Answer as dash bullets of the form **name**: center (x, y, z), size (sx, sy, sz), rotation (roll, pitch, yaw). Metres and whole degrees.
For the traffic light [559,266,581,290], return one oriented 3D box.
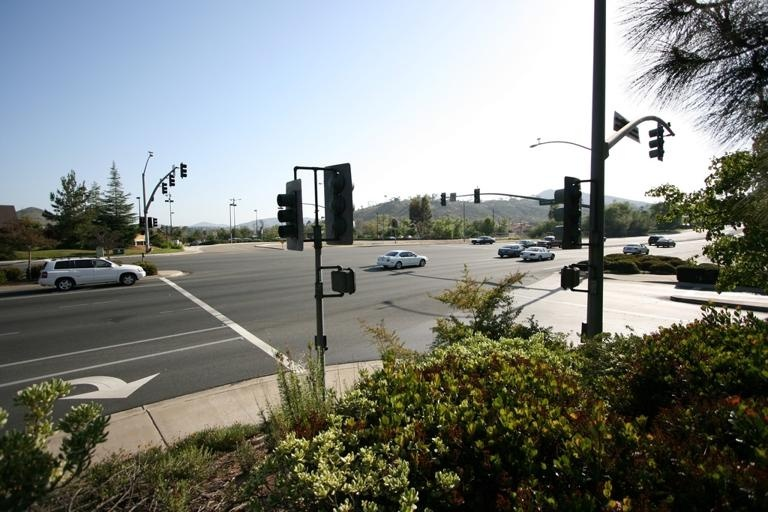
- **traffic light**: center (4.264, 0.474, 12.748), size (0.388, 0.621, 0.621), rotation (-1, 8, 18)

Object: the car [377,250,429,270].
- **car**: center (1.256, 0.255, 34.954), size (2.870, 0.922, 1.222), rotation (-7, 12, -36)

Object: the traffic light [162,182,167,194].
- **traffic light**: center (-15.018, -4.633, 38.110), size (0.175, 0.619, 1.347), rotation (-7, 8, -29)

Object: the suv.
- **suv**: center (-13.577, 0.748, 25.813), size (3.913, 1.508, 1.781), rotation (-5, 9, -39)

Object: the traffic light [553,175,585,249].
- **traffic light**: center (4.083, -0.945, 12.234), size (0.570, 1.544, 0.316), rotation (-3, 7, 6)

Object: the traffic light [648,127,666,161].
- **traffic light**: center (8.522, -3.479, 17.283), size (0.478, 1.119, 0.357), rotation (0, -7, 33)
